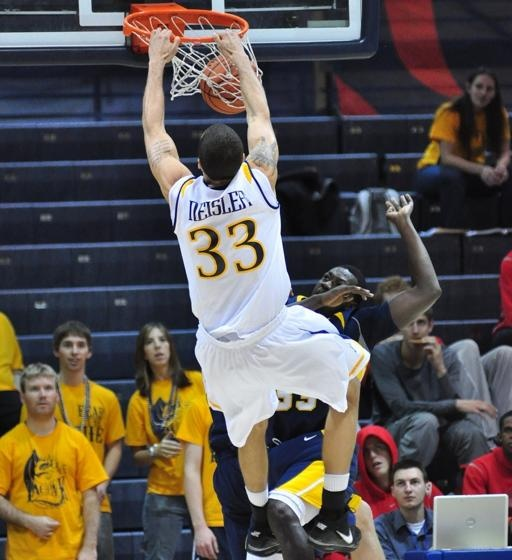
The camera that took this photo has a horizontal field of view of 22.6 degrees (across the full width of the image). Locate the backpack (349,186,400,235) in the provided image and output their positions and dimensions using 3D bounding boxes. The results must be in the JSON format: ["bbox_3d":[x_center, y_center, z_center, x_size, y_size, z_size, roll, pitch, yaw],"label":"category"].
[{"bbox_3d":[0.930,-0.503,9.862,0.283,0.420,0.378,-2,-1,5],"label":"backpack"}]

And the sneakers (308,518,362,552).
[{"bbox_3d":[0.384,1.230,6.094,0.307,0.156,0.115,1,18,-22],"label":"sneakers"}]

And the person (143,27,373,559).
[{"bbox_3d":[0.003,-0.017,6.147,0.913,2.701,0.668,-6,-8,-4],"label":"person"}]
